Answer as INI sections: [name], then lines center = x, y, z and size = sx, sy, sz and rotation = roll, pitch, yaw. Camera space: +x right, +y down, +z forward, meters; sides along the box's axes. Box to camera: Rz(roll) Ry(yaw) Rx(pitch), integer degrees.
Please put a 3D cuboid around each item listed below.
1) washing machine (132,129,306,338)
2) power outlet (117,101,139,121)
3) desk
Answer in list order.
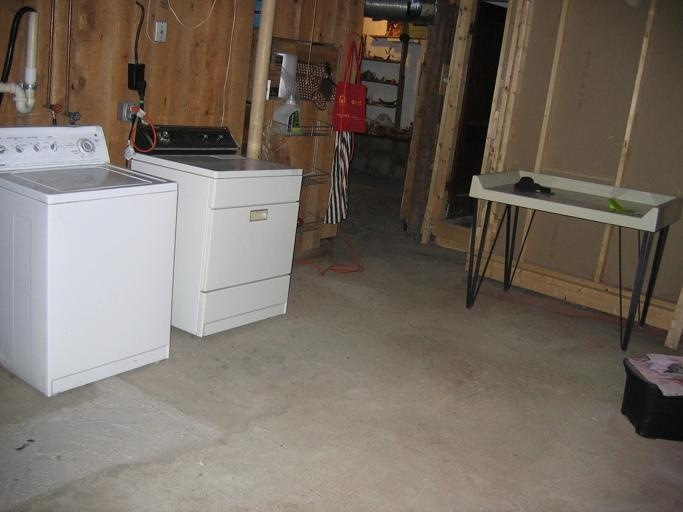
[washing machine]
center = -0.858, -0.217, 3.862
size = 1.045, 1.269, 1.082
rotation = 3, 16, -15
[power outlet]
center = -1.458, -0.987, 3.603
size = 0.066, 0.126, 0.121
rotation = 10, 13, 41
[desk]
center = 2.067, 0.039, 4.559
size = 1.133, 1.003, 0.619
rotation = 23, 29, 39
